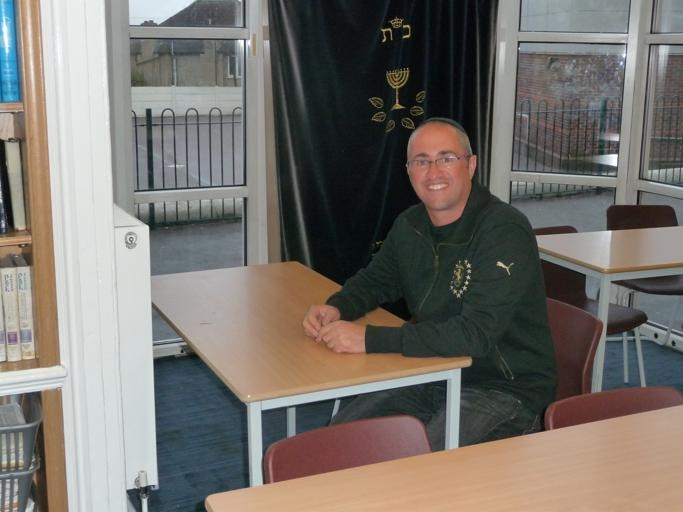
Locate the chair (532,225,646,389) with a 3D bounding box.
[{"bbox_3d":[1.559,0.323,3.784,0.514,0.786,0.507,13,15,42],"label":"chair"}]

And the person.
[{"bbox_3d":[0.391,0.257,2.606,1.006,1.535,0.875,-6,8,-39],"label":"person"}]
